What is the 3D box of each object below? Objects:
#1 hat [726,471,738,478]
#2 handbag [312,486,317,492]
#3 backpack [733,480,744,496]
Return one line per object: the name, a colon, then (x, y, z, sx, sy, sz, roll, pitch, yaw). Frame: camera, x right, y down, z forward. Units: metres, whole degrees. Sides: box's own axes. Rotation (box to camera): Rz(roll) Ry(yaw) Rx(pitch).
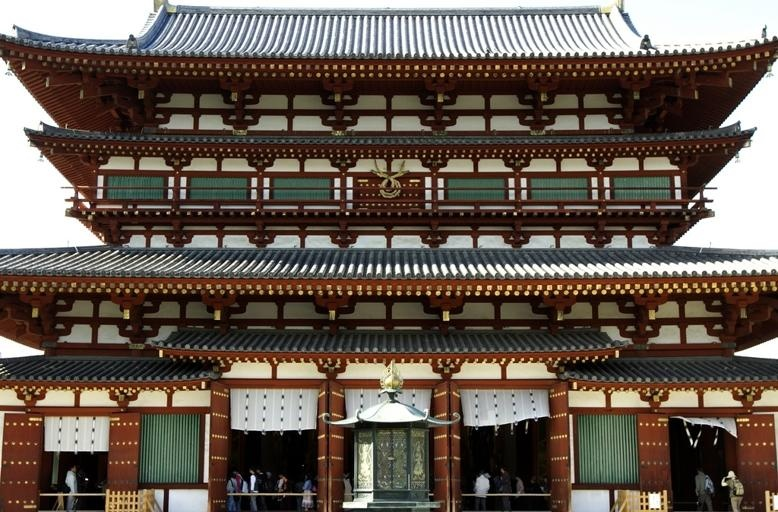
hat: (11.688, 7.429, 53.378, 0.375, 0.151, 0.330, -1, -8, -2)
handbag: (-2.677, 8.149, 54.996, 0.195, 0.153, 0.187, -3, 4, -2)
backpack: (11.766, 7.835, 52.869, 0.361, 0.531, 0.438, -8, -26, 22)
